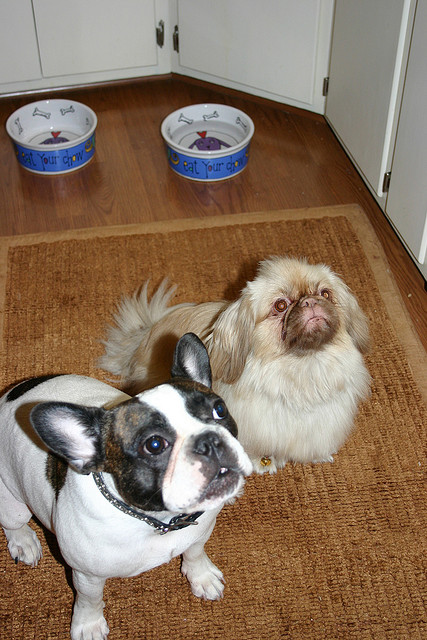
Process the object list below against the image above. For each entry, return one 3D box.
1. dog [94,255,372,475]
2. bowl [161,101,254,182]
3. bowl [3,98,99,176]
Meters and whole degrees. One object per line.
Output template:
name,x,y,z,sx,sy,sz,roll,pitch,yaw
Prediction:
dog,0.070,0.122,1.341,0.626,0.452,0.426,35,36,31
bowl,-0.005,-0.903,2.854,0.454,0.185,0.491,1,28,-1
bowl,-0.884,-1.010,2.869,0.464,0.248,0.523,-14,46,-17
